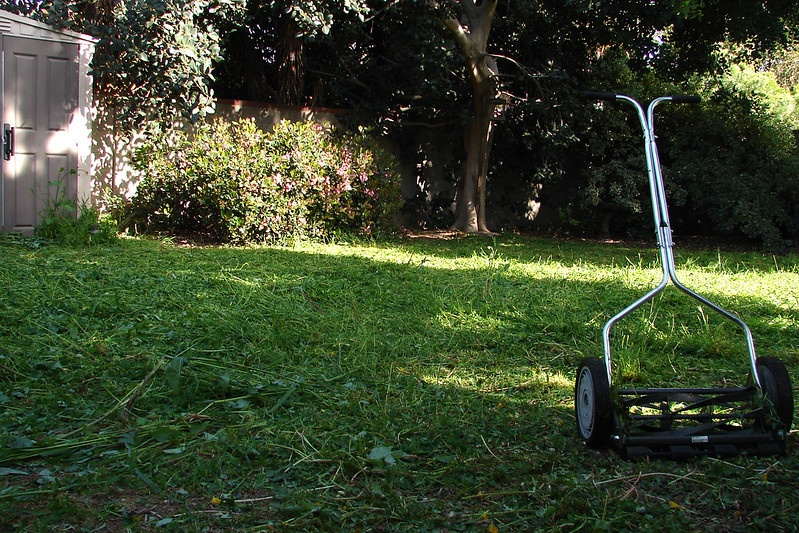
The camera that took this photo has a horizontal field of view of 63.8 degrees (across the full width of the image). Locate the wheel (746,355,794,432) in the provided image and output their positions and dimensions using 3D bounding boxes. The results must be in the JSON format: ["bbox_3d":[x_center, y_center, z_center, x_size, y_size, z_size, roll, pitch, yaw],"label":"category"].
[{"bbox_3d":[1.968,0.658,3.393,0.137,0.329,0.265,2,11,1],"label":"wheel"}]

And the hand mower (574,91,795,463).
[{"bbox_3d":[1.672,-0.014,3.584,1.206,1.868,1.225,6,11,16],"label":"hand mower"}]
